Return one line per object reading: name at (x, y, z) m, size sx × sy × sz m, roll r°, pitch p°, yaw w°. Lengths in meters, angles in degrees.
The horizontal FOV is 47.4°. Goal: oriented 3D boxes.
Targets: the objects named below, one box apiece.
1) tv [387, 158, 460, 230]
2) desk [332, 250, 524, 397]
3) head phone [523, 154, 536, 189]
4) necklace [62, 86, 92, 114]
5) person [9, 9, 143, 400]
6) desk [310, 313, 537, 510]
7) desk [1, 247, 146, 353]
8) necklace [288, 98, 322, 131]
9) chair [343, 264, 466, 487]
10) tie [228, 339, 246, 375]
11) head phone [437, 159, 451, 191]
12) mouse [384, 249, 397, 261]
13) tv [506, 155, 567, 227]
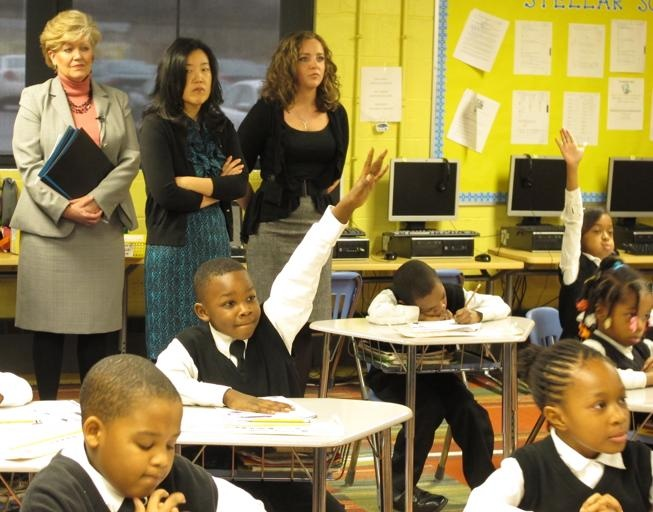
tv at (0.685, -0.482, 5.593) m, size 0.521 × 0.493 × 0.173 m, roll -1°, pitch 6°, yaw -10°
desk at (0.724, 0.461, 5.501) m, size 1.305 × 0.903 × 0.510 m, roll -1°, pitch 9°, yaw 20°
head phone at (1.496, -0.648, 5.714) m, size 0.075 × 0.248 × 0.028 m, roll 3°, pitch 3°, yaw -7°
necklace at (-1.139, -0.740, 3.500) m, size 0.087 × 0.109 × 0.046 m, roll 1°, pitch -37°, yaw -10°
person at (-1.169, -0.216, 3.517) m, size 0.561 × 1.828 × 0.350 m, roll 3°, pitch 4°, yaw -16°
desk at (0.415, 0.466, 3.174) m, size 0.759 × 0.652 × 0.829 m, roll -4°, pitch 9°, yaw -29°
desk at (-1.589, 0.155, 4.710) m, size 0.883 × 0.868 × 0.707 m, roll 0°, pitch 0°, yaw -3°
necklace at (-0.108, -0.655, 3.511) m, size 0.141 × 0.145 × 0.037 m, roll -3°, pitch -10°, yaw -18°
chair at (0.462, 0.532, 3.345) m, size 0.385 × 0.931 × 0.517 m, roll -1°, pitch 6°, yaw -32°
tie at (-0.291, 0.329, 2.439) m, size 0.036 × 0.132 × 0.035 m, roll -17°, pitch -21°, yaw 34°
head phone at (0.836, -0.613, 5.601) m, size 0.089 × 0.281 × 0.220 m, roll 2°, pitch 3°, yaw 2°
mouse at (0.427, -0.001, 5.275) m, size 0.072 × 0.053 × 0.057 m, roll -7°, pitch 16°, yaw -37°
tv at (1.566, -0.523, 5.827) m, size 0.475 × 0.498 × 0.158 m, roll -1°, pitch 7°, yaw -16°
